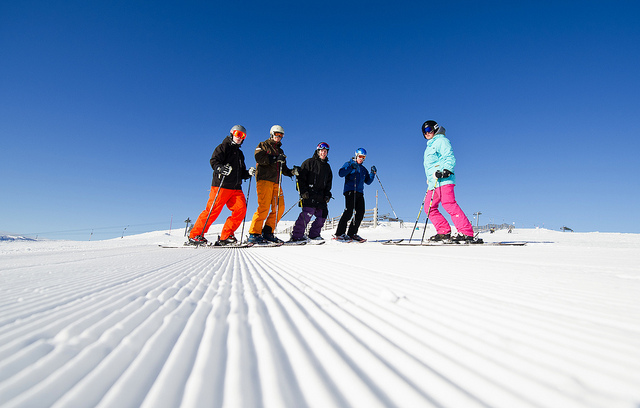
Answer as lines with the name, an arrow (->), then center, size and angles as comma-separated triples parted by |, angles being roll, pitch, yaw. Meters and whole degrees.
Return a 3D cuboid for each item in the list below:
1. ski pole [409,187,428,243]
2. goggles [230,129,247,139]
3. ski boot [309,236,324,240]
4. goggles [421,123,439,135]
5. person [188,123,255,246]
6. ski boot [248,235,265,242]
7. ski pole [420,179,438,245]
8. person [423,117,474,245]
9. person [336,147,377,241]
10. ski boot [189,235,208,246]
ski pole -> 2.126, 0.503, 7.497 | 0.029, 1.423, 0.053 | 10, 4, -38
goggles -> -1.441, -1.246, 6.308 | 0.294, 0.186, 0.124 | -4, -10, 28
ski boot -> -0.055, 0.666, 7.085 | 0.220, 0.071, 0.196 | 0, -9, 7
goggles -> 1.819, -1.257, 5.872 | 0.134, 0.159, 0.355 | 7, -10, -32
person -> -1.531, -0.404, 5.736 | 0.815, 2.147, 0.844 | 7, -11, -36
ski boot -> -1.044, 0.537, 5.672 | 0.219, 0.108, 0.115 | 3, -9, -13
ski pole -> 1.811, 0.185, 5.775 | 0.041, 1.578, 0.063 | 10, 8, 16
person -> 1.849, -0.429, 5.294 | 0.481, 2.075, 1.040 | 2, -9, -8
person -> 0.749, -0.222, 7.390 | 0.799, 1.931, 0.771 | 1, -9, 3
ski boot -> -1.951, 0.557, 5.599 | 0.237, 0.147, 0.146 | 8, -5, 13
